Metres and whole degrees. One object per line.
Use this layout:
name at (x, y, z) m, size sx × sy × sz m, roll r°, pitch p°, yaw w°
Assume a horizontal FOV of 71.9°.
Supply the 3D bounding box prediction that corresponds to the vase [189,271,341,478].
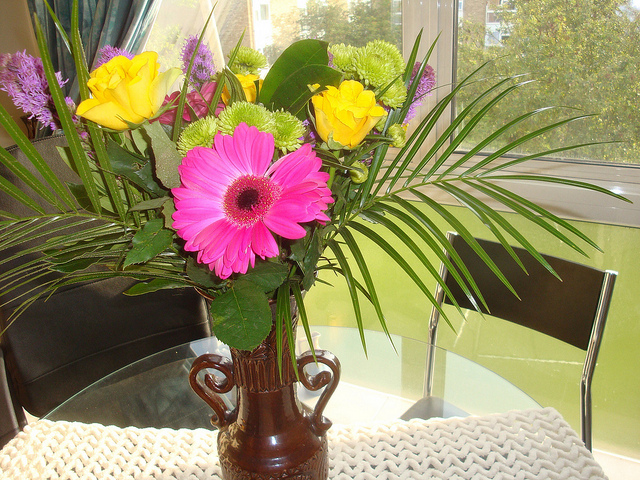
vase at (-0.093, 0.245, 0.697) m, size 0.236 × 0.281 × 0.109 m, roll 7°, pitch 20°, yaw 7°
